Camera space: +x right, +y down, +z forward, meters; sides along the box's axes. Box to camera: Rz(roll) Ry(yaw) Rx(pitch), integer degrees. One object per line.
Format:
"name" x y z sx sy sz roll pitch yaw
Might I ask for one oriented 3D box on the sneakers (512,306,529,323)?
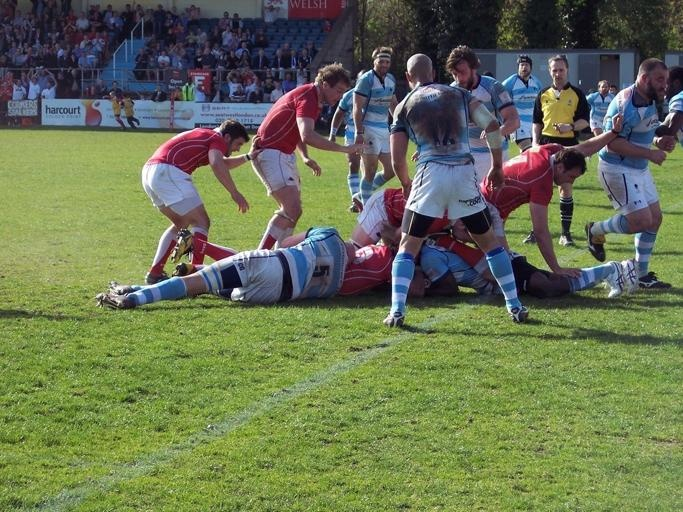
"sneakers" 1.787 0.586 11.507 0.192 0.165 0.147 0 5 -4

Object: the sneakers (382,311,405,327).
"sneakers" 0.513 0.631 11.378 0.201 0.153 0.124 0 5 0

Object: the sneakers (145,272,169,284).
"sneakers" -2.023 0.242 12.389 0.301 0.139 0.119 -7 9 -32

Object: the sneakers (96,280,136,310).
"sneakers" -2.280 0.413 11.634 0.312 0.139 0.270 8 10 23

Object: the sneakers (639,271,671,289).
"sneakers" 3.496 0.273 12.713 0.382 0.180 0.143 4 1 4

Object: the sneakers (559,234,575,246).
"sneakers" 2.911 -0.204 14.831 0.180 0.142 0.370 1 6 9

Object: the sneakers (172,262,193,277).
"sneakers" -1.648 0.136 11.775 0.125 0.092 0.170 -20 25 -25

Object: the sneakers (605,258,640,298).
"sneakers" 3.064 0.189 12.474 0.202 0.268 0.586 -23 16 33
